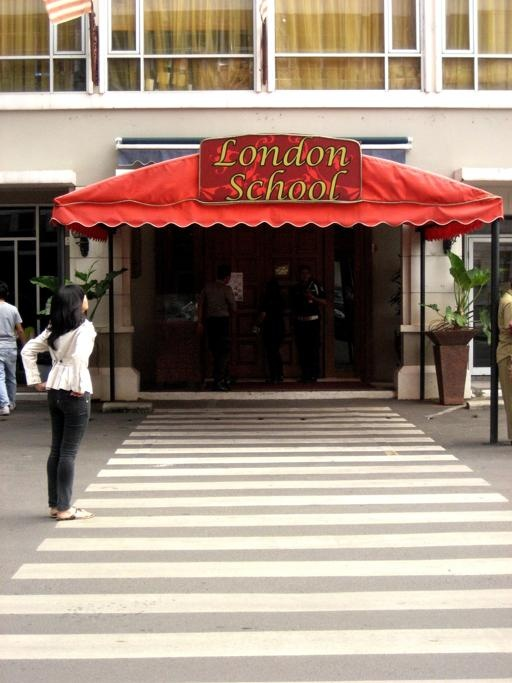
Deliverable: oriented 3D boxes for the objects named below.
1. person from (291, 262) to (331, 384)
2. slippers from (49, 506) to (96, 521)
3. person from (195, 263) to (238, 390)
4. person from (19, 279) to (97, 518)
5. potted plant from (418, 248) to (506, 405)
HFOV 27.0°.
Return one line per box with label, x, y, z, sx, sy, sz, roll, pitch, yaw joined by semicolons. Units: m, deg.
person;0.777;-0.249;15.733;0.468;1.695;0.433;-2;4;-9
slippers;-1.297;1.205;7.437;0.261;0.107;0.109;-1;5;-18
person;-0.572;-0.231;15.362;0.519;1.727;1.549;-1;4;-2
person;-1.337;0.432;7.267;0.489;1.636;0.404;-1;4;0
potted plant;2.724;-0.245;14.404;0.839;1.964;2.040;0;5;12
